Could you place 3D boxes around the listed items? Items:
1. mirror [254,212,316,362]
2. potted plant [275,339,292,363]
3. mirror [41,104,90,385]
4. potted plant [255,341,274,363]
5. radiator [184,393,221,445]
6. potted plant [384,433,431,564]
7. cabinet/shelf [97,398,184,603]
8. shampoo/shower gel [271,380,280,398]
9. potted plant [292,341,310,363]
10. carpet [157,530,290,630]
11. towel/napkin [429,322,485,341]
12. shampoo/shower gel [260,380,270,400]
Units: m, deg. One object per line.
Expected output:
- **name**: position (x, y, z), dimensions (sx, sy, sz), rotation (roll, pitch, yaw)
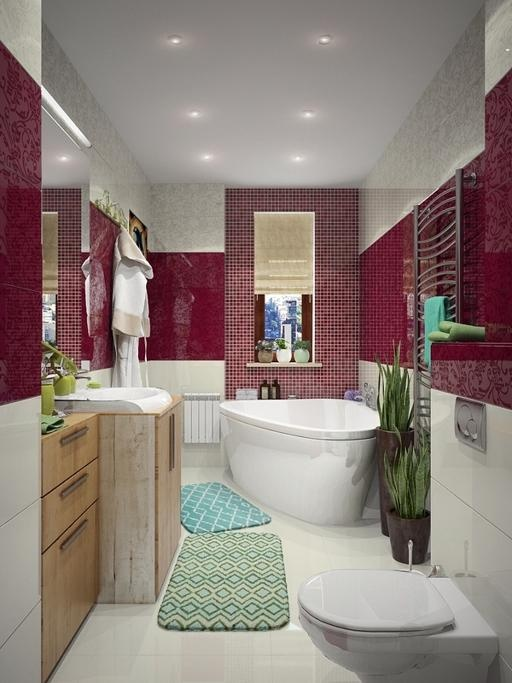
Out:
- **mirror**: position (0.275, -0.511, 4.512), dimensions (0.582, 1.454, 0.350), rotation (0, 1, -1)
- **potted plant**: position (0.265, 0.095, 4.562), dimensions (0.152, 0.296, 0.190), rotation (-4, 6, -17)
- **mirror**: position (-0.911, -0.450, 2.228), dimensions (0.116, 1.143, 0.618), rotation (0, 1, -13)
- **potted plant**: position (0.096, 0.085, 4.479), dimensions (0.168, 0.270, 0.165), rotation (1, 5, 11)
- **radiator**: position (-0.490, 0.700, 4.305), dimensions (0.334, 0.557, 0.057), rotation (-1, 32, -13)
- **potted plant**: position (0.785, 0.849, 2.453), dimensions (0.228, 0.639, 0.646), rotation (1, 1, 20)
- **cabinet/shelf**: position (-0.538, 0.728, 2.136), dimensions (0.243, 0.778, 0.776), rotation (0, -1, -2)
- **shampoo/shower gel**: position (0.185, 0.446, 4.439), dimensions (0.097, 0.240, 0.105), rotation (-1, -1, 8)
- **potted plant**: position (0.441, 0.089, 4.539), dimensions (0.143, 0.241, 0.172), rotation (0, 3, -9)
- **carpet**: position (-0.138, 1.159, 2.361), dimensions (0.579, 0.035, 0.910), rotation (1, 1, -1)
- **towel/napkin**: position (0.622, -0.025, 1.444), dimensions (0.097, 0.047, 0.085), rotation (0, -3, -11)
- **shampoo/shower gel**: position (0.094, 0.451, 4.331), dimensions (0.108, 0.262, 0.128), rotation (1, -4, 4)
